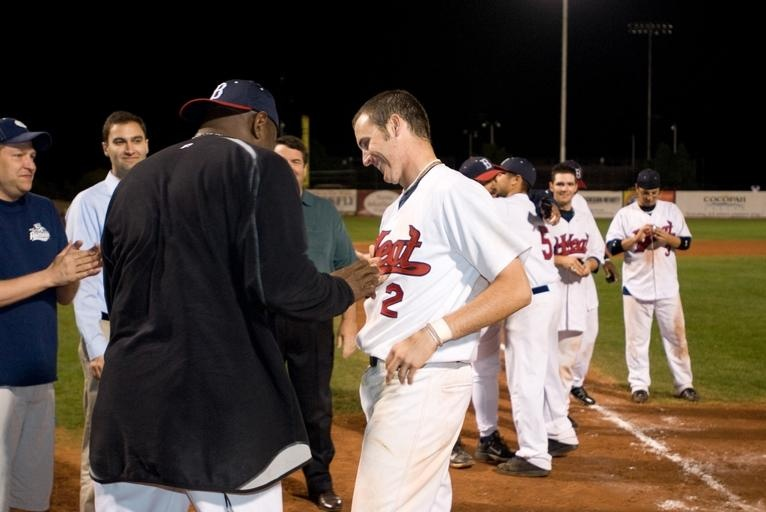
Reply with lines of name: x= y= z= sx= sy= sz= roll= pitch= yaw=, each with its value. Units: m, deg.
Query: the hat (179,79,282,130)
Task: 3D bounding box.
hat: x=-1.020 y=-1.023 z=6.010 sx=0.513 sy=0.282 sz=0.330 roll=13 pitch=-2 yaw=-25

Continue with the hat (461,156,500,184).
hat: x=0.972 y=-0.892 z=8.928 sx=0.379 sy=0.246 sz=0.302 roll=-9 pitch=19 yaw=23

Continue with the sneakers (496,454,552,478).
sneakers: x=1.378 y=2.002 z=8.689 sx=0.517 sy=0.253 sz=0.201 roll=4 pitch=-2 yaw=12

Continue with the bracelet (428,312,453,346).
bracelet: x=0.391 y=0.508 z=6.099 sx=0.161 sy=0.174 sz=0.060 roll=-24 pitch=-4 yaw=12

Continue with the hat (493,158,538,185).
hat: x=1.379 y=-0.889 z=9.256 sx=0.374 sy=0.214 sz=0.266 roll=31 pitch=8 yaw=4

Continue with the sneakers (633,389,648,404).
sneakers: x=3.062 y=1.669 z=10.618 sx=0.121 sy=0.128 sz=0.154 roll=4 pitch=4 yaw=36
